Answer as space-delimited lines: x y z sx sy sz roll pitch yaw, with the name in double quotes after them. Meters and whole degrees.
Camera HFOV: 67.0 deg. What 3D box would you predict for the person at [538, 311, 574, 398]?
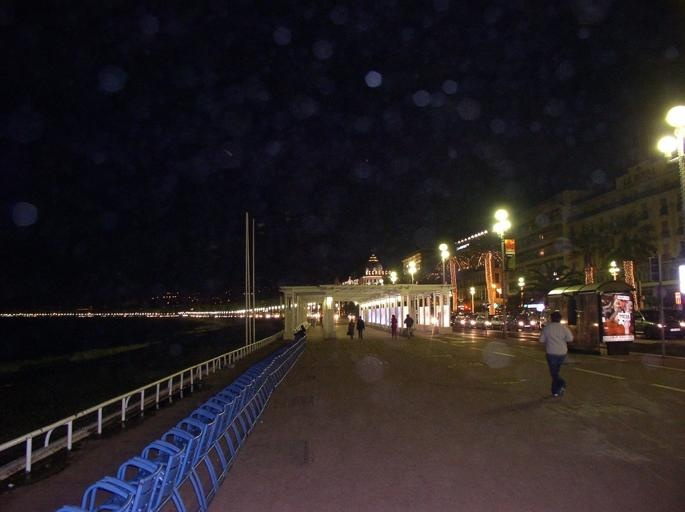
5.243 2.373 12.646 0.679 2.046 0.953 -3 -4 24 "person"
